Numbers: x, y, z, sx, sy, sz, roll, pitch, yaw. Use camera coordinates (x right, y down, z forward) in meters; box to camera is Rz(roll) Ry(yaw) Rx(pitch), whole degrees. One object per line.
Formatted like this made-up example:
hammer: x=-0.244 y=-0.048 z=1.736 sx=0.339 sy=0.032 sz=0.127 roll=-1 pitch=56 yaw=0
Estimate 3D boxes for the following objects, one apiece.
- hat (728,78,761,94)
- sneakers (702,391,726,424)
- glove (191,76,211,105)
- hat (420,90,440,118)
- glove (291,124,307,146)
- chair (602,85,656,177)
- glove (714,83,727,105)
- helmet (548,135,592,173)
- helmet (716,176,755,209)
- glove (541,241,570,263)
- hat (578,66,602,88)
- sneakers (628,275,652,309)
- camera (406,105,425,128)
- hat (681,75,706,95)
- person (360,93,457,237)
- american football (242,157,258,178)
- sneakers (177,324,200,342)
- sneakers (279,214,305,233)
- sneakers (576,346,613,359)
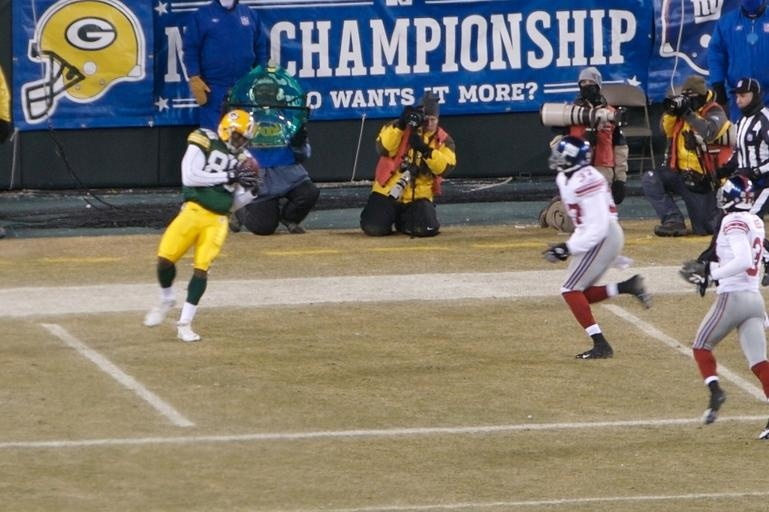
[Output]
hat: x=4.226 y=-1.978 z=17.500 sx=0.377 sy=0.153 sz=0.237 roll=6 pitch=3 yaw=-4
sneakers: x=3.236 y=1.470 z=14.741 sx=0.127 sy=0.320 sz=0.160 roll=32 pitch=1 yaw=-7
glove: x=-2.614 y=-2.341 z=21.489 sx=0.285 sy=0.390 sz=0.114 roll=-25 pitch=-2 yaw=-2
hat: x=0.593 y=-2.020 z=20.211 sx=0.214 sy=0.322 sz=0.469 roll=2 pitch=6 yaw=27
glove: x=-1.124 y=-1.655 z=20.837 sx=0.264 sy=0.276 sz=0.150 roll=-5 pitch=7 yaw=-40
chair: x=3.728 y=-1.922 z=23.559 sx=0.928 sy=1.306 sz=0.889 roll=-5 pitch=1 yaw=-22
glove: x=4.491 y=-2.138 z=20.010 sx=0.076 sy=0.233 sz=0.157 roll=-12 pitch=5 yaw=-33
helmet: x=1.952 y=-1.097 z=16.142 sx=0.522 sy=0.397 sz=0.392 roll=12 pitch=13 yaw=16
helmet: x=3.531 y=-0.637 z=15.010 sx=0.313 sy=0.290 sz=0.370 roll=-1 pitch=25 yaw=-13
glove: x=1.869 y=-0.047 z=16.051 sx=0.288 sy=0.214 sz=0.379 roll=1 pitch=6 yaw=19
hat: x=2.748 y=-2.352 z=20.069 sx=0.260 sy=0.261 sz=0.272 roll=2 pitch=6 yaw=21
sneakers: x=2.827 y=0.401 z=16.655 sx=0.148 sy=0.388 sz=0.184 roll=-36 pitch=4 yaw=44
camera: x=0.452 y=-1.825 z=20.008 sx=0.234 sy=0.243 sz=0.280 roll=1 pitch=3 yaw=5
hat: x=4.069 y=-2.225 z=19.855 sx=0.255 sy=0.225 sz=0.333 roll=2 pitch=-6 yaw=38
person: x=0.313 y=-1.230 z=20.534 sx=1.074 sy=1.951 sz=0.929 roll=4 pitch=7 yaw=37
american football: x=-1.487 y=-0.992 z=16.953 sx=0.249 sy=0.206 sz=0.158 roll=7 pitch=-26 yaw=0
sneakers: x=-2.146 y=0.823 z=16.662 sx=0.249 sy=0.198 sz=0.294 roll=-2 pitch=6 yaw=-16
sneakers: x=-1.304 y=-0.437 z=21.089 sx=0.413 sy=0.159 sz=0.145 roll=32 pitch=5 yaw=10
sneakers: x=2.249 y=1.016 z=16.082 sx=0.448 sy=0.156 sz=0.122 roll=1 pitch=11 yaw=7
